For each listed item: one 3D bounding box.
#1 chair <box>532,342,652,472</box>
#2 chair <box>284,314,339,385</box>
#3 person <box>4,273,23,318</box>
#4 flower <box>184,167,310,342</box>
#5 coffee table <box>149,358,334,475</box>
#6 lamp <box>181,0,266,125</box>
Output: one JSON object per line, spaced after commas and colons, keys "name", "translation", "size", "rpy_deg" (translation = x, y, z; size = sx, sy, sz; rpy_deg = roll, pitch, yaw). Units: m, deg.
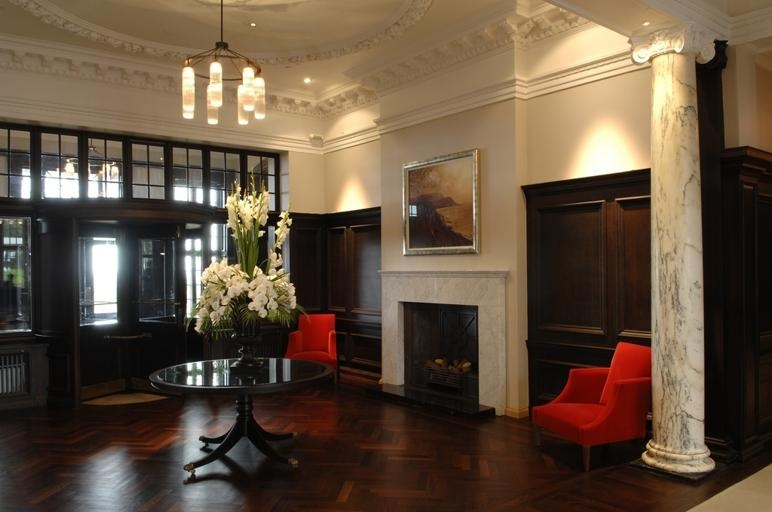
{"name": "chair", "translation": [2.648, 1.735, 7.158], "size": [1.259, 1.247, 0.944], "rpy_deg": [-2, 0, -17]}
{"name": "chair", "translation": [-1.263, 1.536, 9.838], "size": [1.089, 1.050, 1.084], "rpy_deg": [1, -1, -38]}
{"name": "person", "translation": [-5.886, 0.590, 9.141], "size": [0.205, 0.774, 0.116], "rpy_deg": [-4, 7, -34]}
{"name": "flower", "translation": [-1.512, 0.161, 6.720], "size": [0.946, 1.750, 1.112], "rpy_deg": [13, 15, 42]}
{"name": "coffee table", "translation": [-1.706, 1.635, 6.854], "size": [1.576, 0.744, 1.553], "rpy_deg": [1, -3, -21]}
{"name": "lamp", "translation": [-2.488, -2.732, 8.834], "size": [1.022, 1.787, 4.414], "rpy_deg": [-2, 6, -15]}
